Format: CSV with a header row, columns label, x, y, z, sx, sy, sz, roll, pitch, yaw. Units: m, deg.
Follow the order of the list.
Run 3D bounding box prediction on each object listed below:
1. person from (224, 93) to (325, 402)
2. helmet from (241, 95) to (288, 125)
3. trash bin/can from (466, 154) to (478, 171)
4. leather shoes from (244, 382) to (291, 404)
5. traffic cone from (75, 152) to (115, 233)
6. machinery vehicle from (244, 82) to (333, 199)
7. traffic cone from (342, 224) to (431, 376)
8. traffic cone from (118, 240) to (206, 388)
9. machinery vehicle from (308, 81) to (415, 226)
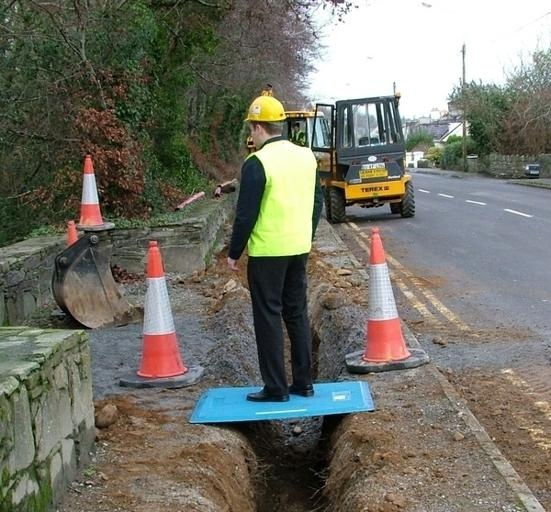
label,x,y,z,sx,sy,sz,roll,pitch,yaw
person,0.006,-0.030,4.195,0.466,2.103,0.668,7,12,36
helmet,-0.089,-0.999,4.126,0.173,0.124,0.217,-18,33,-35
trash bin/can,12.818,-6.045,39.554,0.612,1.256,1.184,-3,6,-13
leather shoes,-0.051,0.945,4.265,0.288,0.130,0.124,2,-1,12
traffic cone,-2.178,-0.739,7.276,0.400,0.906,0.788,-3,10,-19
machinery vehicle,0.667,-3.274,18.426,2.163,2.202,1.410,6,15,-2
traffic cone,0.908,0.369,4.892,0.664,1.131,0.467,1,10,6
traffic cone,-0.884,0.437,4.685,0.641,1.124,0.432,-1,10,-9
machinery vehicle,2.083,-2.649,16.373,2.141,3.073,4.106,-6,13,-5
